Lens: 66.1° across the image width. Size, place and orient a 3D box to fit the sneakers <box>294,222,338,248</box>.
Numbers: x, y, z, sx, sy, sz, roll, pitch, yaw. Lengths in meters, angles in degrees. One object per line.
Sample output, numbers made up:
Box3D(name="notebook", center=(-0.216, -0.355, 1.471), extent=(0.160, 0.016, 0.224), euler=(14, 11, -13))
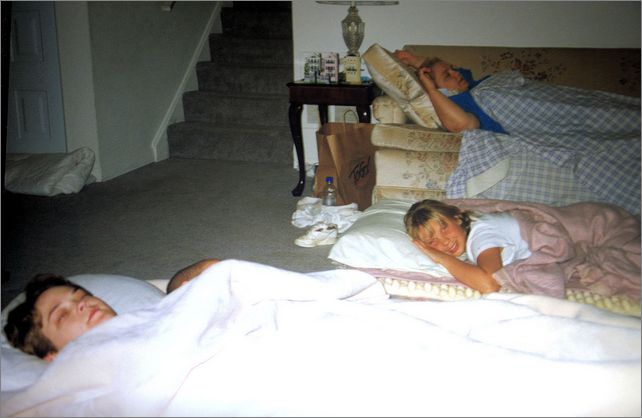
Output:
Box3D(name="sneakers", center=(-0.007, 0.151, 2.927), extent=(0.298, 0.114, 0.100), euler=(-4, 29, -7))

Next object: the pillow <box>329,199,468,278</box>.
Box3D(name="pillow", center=(0.260, 0.076, 2.291), extent=(0.569, 0.122, 0.520), euler=(6, 30, -15))

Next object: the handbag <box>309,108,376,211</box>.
Box3D(name="handbag", center=(0.157, -0.298, 3.199), extent=(0.400, 0.545, 0.359), euler=(5, 21, -3))
